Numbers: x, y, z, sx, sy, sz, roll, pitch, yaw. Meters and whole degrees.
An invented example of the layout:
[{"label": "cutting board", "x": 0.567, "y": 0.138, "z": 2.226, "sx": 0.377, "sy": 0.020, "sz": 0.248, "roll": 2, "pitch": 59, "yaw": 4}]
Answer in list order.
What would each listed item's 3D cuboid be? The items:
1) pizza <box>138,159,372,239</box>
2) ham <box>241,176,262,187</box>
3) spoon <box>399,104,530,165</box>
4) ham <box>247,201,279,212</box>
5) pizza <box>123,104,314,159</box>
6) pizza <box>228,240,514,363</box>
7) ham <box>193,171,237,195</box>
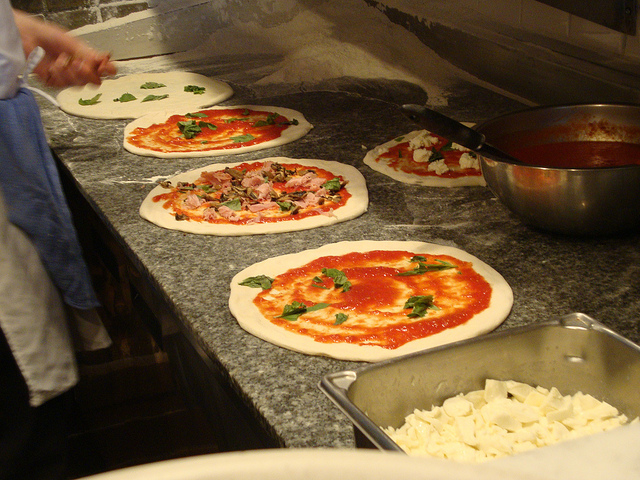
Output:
[{"label": "pizza", "x": -0.153, "y": -0.121, "z": 1.377, "sx": 0.587, "sy": 0.051, "sz": 0.455, "roll": -15, "pitch": 28, "yaw": -20}, {"label": "ham", "x": -0.179, "y": -0.150, "z": 1.420, "sx": 0.047, "sy": 0.014, "sz": 0.024, "roll": -7, "pitch": 31, "yaw": -13}, {"label": "spoon", "x": 0.262, "y": -0.210, "z": 1.047, "sx": 0.205, "sy": 0.133, "sz": 0.149, "roll": -2, "pitch": 31, "yaw": 8}, {"label": "ham", "x": -0.136, "y": -0.080, "z": 1.309, "sx": 0.070, "sy": 0.012, "sz": 0.031, "roll": -9, "pitch": 27, "yaw": -8}, {"label": "pizza", "x": -0.353, "y": -0.377, "z": 2.042, "sx": 0.552, "sy": 0.042, "sz": 0.623, "roll": -12, "pitch": 10, "yaw": -29}, {"label": "pizza", "x": 0.087, "y": 0.088, "z": 0.976, "sx": 0.470, "sy": 0.034, "sz": 0.367, "roll": -14, "pitch": 27, "yaw": -19}, {"label": "ham", "x": -0.276, "y": -0.155, "z": 1.465, "sx": 0.098, "sy": 0.029, "sz": 0.093, "roll": 1, "pitch": -7, "yaw": 36}]
